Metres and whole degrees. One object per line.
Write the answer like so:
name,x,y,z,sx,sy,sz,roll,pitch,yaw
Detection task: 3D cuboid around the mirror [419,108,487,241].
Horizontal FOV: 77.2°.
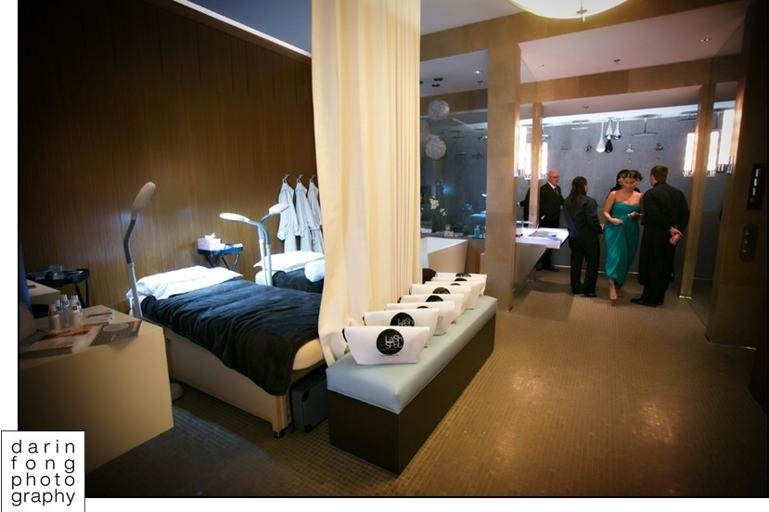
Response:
mirror,0.897,-1.064,6.311,0.839,1.576,0.458,1,10,16

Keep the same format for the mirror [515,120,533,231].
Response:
mirror,1.971,-1.180,6.778,0.186,1.485,2.253,1,9,16

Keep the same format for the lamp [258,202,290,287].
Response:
lamp,-1.306,-0.147,5.603,0.341,0.239,1.002,-13,-31,-22

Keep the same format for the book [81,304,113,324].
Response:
book,-2.092,0.433,3.517,0.162,0.039,0.152,15,15,10

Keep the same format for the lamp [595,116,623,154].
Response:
lamp,3.520,-1.905,7.572,0.326,0.535,0.109,4,10,17

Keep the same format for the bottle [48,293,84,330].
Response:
bottle,-2.219,0.389,3.445,0.229,0.272,0.234,-1,0,-15

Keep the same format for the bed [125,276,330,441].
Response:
bed,-1.225,0.753,4.135,1.443,0.604,0.991,10,23,26

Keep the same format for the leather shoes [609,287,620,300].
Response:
leather shoes,2.935,0.476,6.223,0.096,0.143,0.326,-5,0,14

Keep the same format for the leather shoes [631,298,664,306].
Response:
leather shoes,3.212,0.527,5.894,0.121,0.137,0.335,-3,2,-42

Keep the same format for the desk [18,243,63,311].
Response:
desk,-2.731,0.173,3.797,0.226,0.432,0.427,-8,16,-39

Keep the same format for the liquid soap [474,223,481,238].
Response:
liquid soap,1.207,-0.324,6.257,0.080,0.158,0.024,1,10,17

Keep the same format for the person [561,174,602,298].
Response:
person,2.570,-0.252,6.255,0.452,1.537,0.290,2,10,23

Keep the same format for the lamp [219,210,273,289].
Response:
lamp,-1.597,-0.076,5.451,0.517,1.026,0.244,1,42,-14

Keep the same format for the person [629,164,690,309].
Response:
person,3.325,-0.246,5.812,0.570,1.669,0.329,-2,9,-1

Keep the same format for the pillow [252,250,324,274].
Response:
pillow,-1.153,0.047,5.594,0.411,0.115,0.401,6,15,38

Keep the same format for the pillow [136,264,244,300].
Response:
pillow,-1.952,0.243,4.707,0.473,0.117,0.440,-16,22,-42

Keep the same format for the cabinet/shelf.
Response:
cabinet/shelf,-2.125,0.902,3.432,0.856,0.857,0.913,4,11,36
